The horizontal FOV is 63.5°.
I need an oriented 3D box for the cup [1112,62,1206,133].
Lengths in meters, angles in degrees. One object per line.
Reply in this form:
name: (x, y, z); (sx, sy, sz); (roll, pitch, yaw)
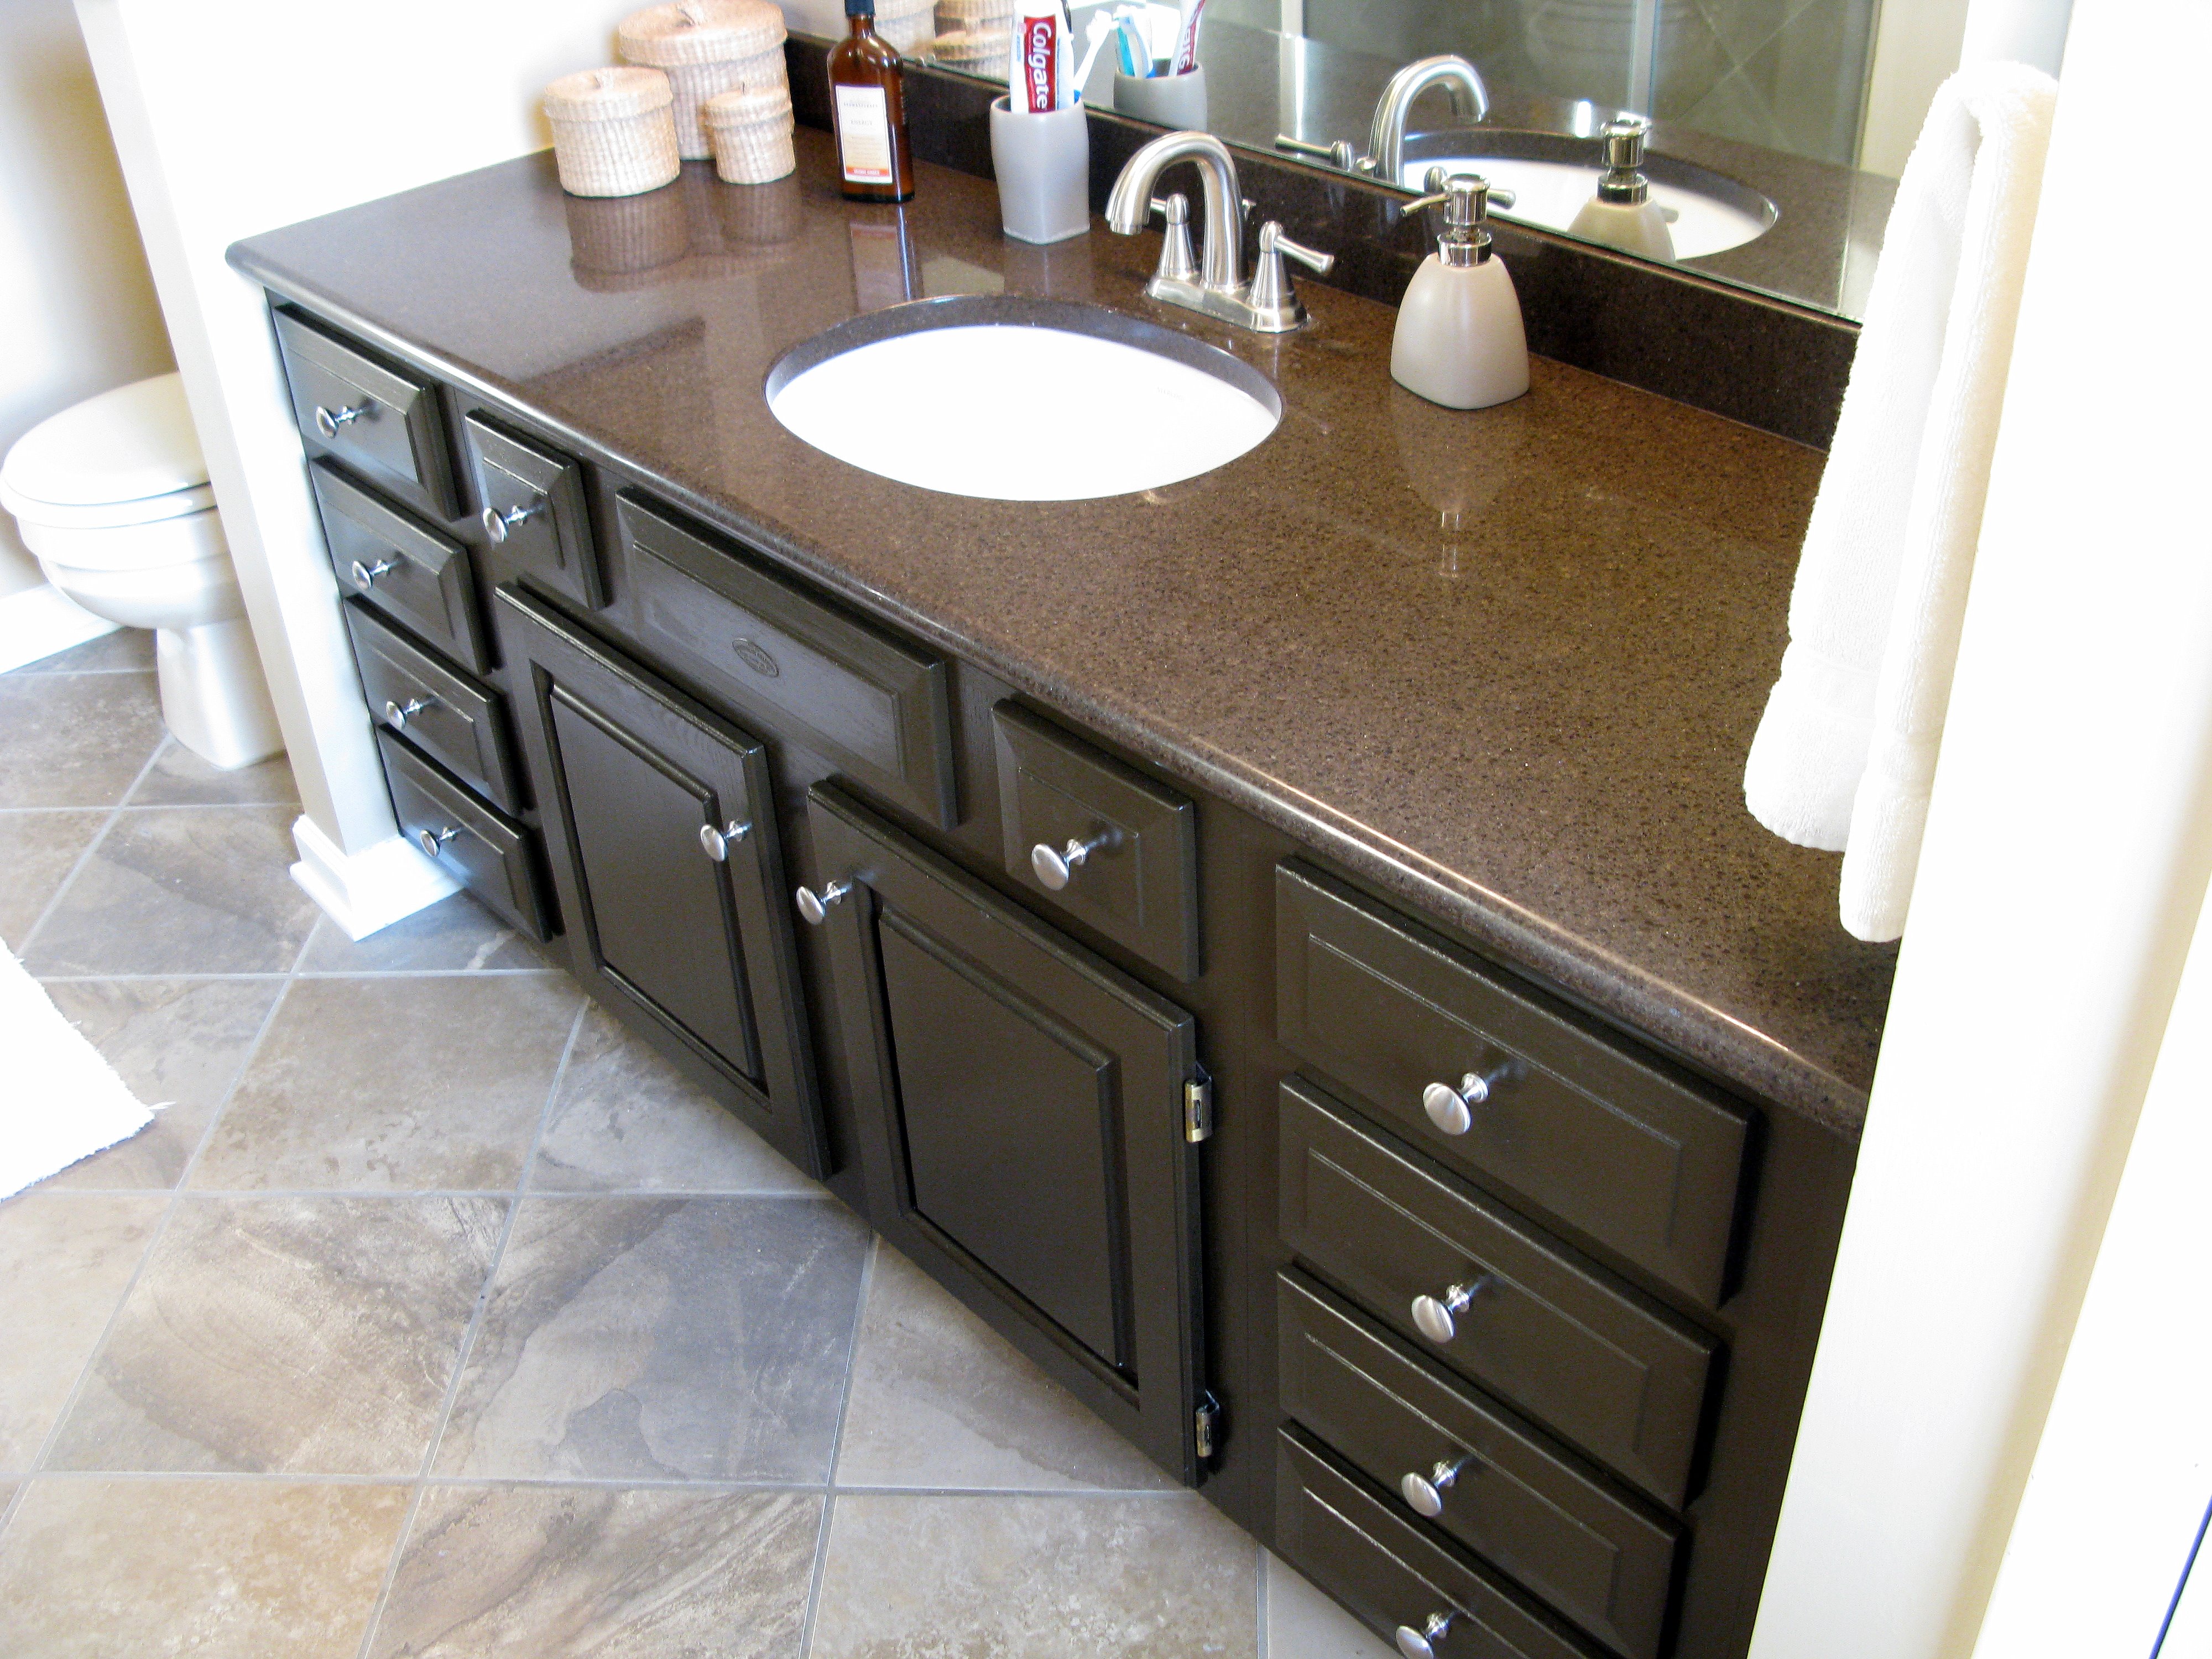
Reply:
cup: (0.061, -0.781, 1.913); (0.086, 0.065, 0.086); (-1, 44, 1)

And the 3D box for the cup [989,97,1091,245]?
cup: (-0.083, -0.721, 1.983); (0.133, 0.170, 0.132); (-1, 33, 1)

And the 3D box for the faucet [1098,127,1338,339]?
faucet: (0.120, -0.582, 1.757); (0.195, 0.152, 0.131); (35, 61, 24)

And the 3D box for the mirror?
mirror: (0.256, -0.594, 1.624); (1.166, 0.092, 0.170); (31, 76, 32)

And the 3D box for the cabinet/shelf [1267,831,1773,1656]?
cabinet/shelf: (0.327, 0.212, 1.284); (0.222, 0.386, 0.387); (-26, 38, -31)

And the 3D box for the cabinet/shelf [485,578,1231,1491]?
cabinet/shelf: (-0.223, 0.204, 1.668); (0.783, 0.468, 0.281); (36, 52, 28)
